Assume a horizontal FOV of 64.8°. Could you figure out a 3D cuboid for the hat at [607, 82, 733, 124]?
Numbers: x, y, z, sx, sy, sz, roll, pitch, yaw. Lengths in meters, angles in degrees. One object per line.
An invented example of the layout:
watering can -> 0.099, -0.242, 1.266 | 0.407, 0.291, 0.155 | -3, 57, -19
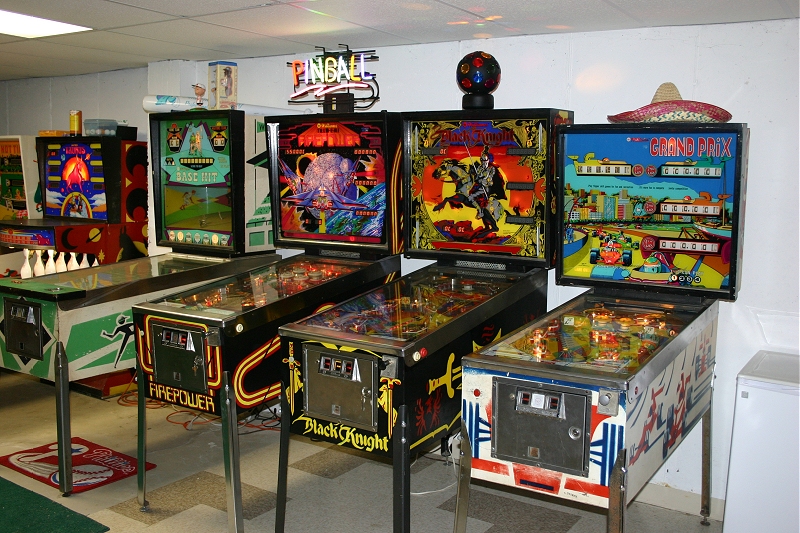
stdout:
hat -> 1.704, -1.035, 3.979 | 0.725, 0.240, 0.694 | -9, 11, -18
